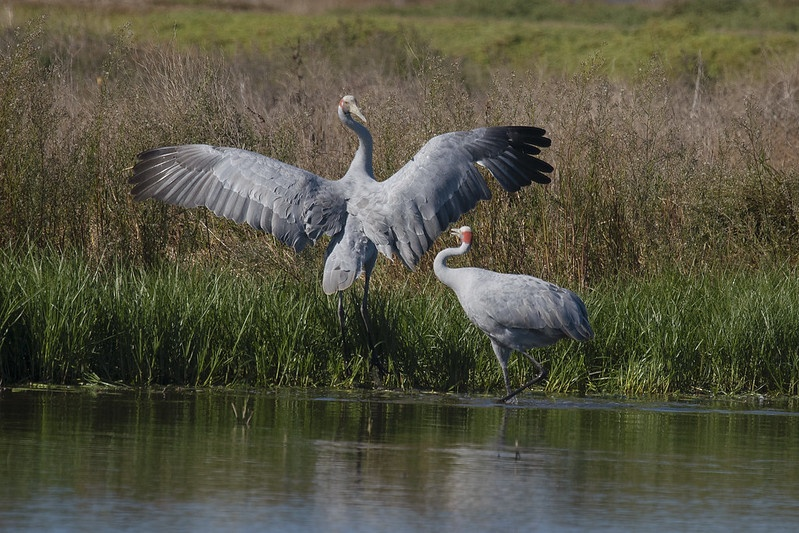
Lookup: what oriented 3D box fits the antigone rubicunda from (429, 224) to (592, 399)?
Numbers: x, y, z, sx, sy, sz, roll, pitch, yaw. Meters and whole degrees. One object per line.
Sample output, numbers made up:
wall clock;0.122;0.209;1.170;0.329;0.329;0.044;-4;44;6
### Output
antigone rubicunda;1.163;0.426;14.082;1.774;1.814;0.673;-3;-13;27
